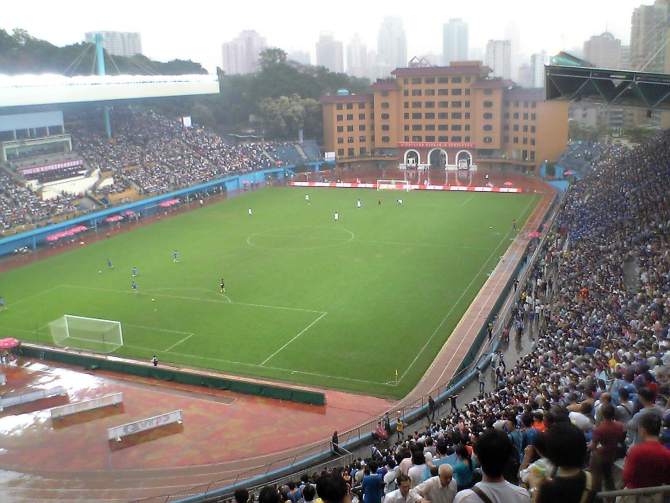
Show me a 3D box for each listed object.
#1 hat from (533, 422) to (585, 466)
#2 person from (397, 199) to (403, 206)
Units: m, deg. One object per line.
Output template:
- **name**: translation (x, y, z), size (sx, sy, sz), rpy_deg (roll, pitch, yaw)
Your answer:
- **hat**: translation (4.015, 3.420, 10.964), size (0.593, 0.798, 0.790), rpy_deg (-14, 11, 6)
- **person**: translation (9.635, -7.448, 90.569), size (0.845, 1.183, 0.515), rpy_deg (-1, 13, 42)
